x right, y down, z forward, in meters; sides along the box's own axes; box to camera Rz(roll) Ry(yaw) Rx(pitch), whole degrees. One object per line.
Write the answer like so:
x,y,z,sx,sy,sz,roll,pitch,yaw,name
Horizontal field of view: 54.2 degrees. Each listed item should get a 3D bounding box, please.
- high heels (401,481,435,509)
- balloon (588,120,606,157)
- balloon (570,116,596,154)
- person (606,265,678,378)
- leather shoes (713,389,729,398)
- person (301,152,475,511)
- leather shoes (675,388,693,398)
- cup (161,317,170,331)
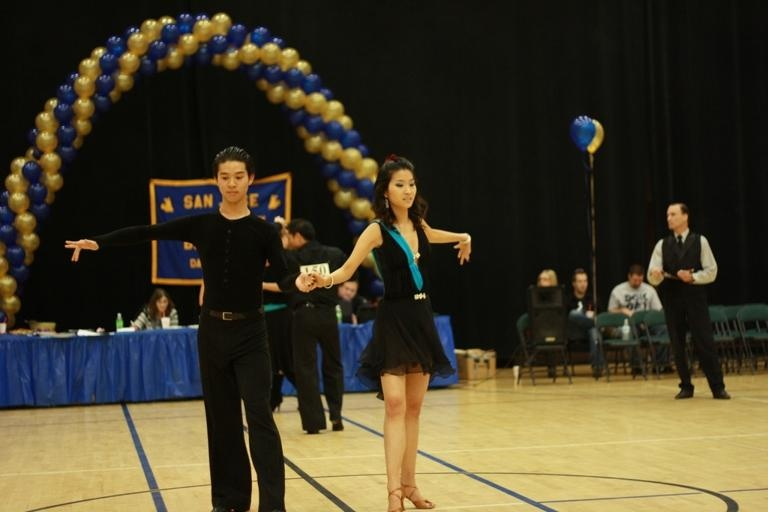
0.254,2.057,6.455,0.374,0.157,0.136,4,-1,44,high heels
3.994,-2.203,14.028,0.414,0.759,0.615,3,14,13,balloon
3.688,-2.272,14.019,0.478,0.657,0.588,0,-6,-1,balloon
4.775,1.198,13.887,0.966,2.007,1.150,-3,-2,4,person
4.842,1.972,10.701,0.229,0.123,0.194,-8,-7,22,leather shoes
0.113,0.655,6.566,1.035,3.053,0.489,-5,-6,-4,person
4.345,1.978,10.810,0.285,0.148,0.196,-6,-6,6,leather shoes
-3.483,1.072,11.958,0.157,0.173,0.154,0,-1,0,cup
